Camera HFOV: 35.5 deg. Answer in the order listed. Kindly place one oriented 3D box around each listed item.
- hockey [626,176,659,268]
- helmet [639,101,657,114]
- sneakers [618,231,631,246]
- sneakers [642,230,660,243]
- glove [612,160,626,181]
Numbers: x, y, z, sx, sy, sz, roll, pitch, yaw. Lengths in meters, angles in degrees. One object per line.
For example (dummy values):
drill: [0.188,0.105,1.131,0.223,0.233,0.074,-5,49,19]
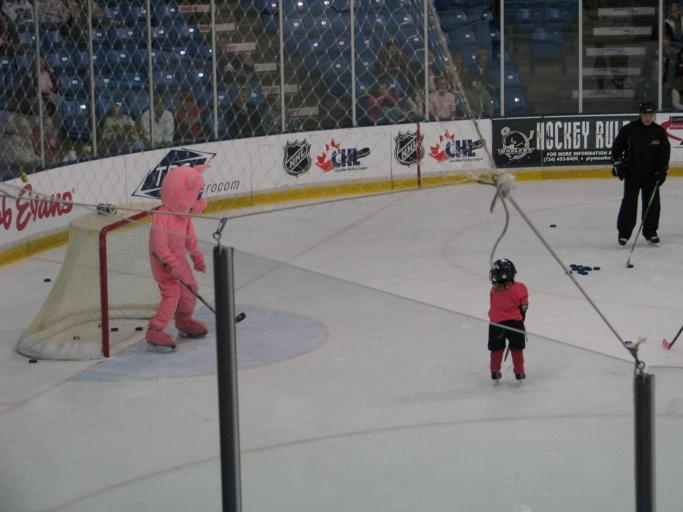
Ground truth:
hockey: [2.811,-0.331,10.129,0.135,0.878,0.134,25,1,38]
helmet: [2.883,-1.426,10.209,0.126,0.140,0.148,2,14,8]
sneakers: [2.643,-0.172,10.174,0.066,0.081,0.194,5,23,18]
sneakers: [2.931,-0.194,10.231,0.091,0.059,0.152,-6,15,-12]
glove: [2.664,-0.847,10.439,0.124,0.160,0.063,2,4,31]
